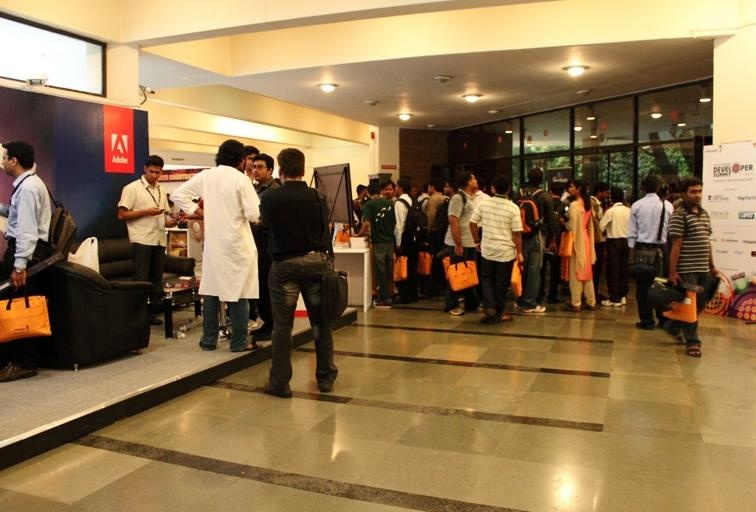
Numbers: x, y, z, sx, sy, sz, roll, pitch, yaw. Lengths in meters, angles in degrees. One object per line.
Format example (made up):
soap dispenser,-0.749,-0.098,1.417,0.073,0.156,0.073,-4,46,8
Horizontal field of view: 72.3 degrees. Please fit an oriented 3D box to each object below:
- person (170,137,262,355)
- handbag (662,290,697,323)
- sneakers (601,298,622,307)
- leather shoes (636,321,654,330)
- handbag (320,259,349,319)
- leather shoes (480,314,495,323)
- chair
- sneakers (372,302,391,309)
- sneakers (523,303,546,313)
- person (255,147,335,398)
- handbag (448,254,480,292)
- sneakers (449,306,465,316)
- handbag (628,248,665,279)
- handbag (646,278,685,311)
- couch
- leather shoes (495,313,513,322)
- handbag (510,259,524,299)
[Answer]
person,-1.609,-0.074,5.528,0.934,2.270,0.483,4,11,21
handbag,3.466,0.571,5.931,0.157,0.345,0.375,-8,11,-34
sneakers,3.842,0.775,8.518,0.293,0.120,0.118,5,8,26
leather shoes,3.610,0.933,7.002,0.215,0.103,0.160,7,13,34
handbag,-0.409,0.345,4.827,0.254,0.531,0.296,2,11,13
leather shoes,1.540,0.901,7.379,0.100,0.138,0.211,0,4,-22
chair,-3.052,0.548,5.513,0.921,0.953,0.953,1,1,35
sneakers,0.054,0.817,8.602,0.279,0.105,0.107,5,3,38
sneakers,2.466,0.814,8.099,0.363,0.146,0.150,-1,3,-8
person,-0.766,0.318,4.878,0.687,2.012,0.378,-1,10,-3
handbag,1.271,0.263,7.734,0.485,0.468,0.215,-17,-9,-13
sneakers,1.229,0.872,8.074,0.211,0.085,0.110,-3,4,26
handbag,3.414,0.103,6.596,0.374,0.434,0.245,-3,-15,40
handbag,3.287,0.451,5.944,0.383,0.369,0.295,3,3,23
couch,-3.220,0.325,6.846,1.185,0.997,2.053,0,7,-12
leather shoes,1.868,0.914,7.617,0.351,0.139,0.117,-7,11,-43
handbag,2.056,0.323,7.648,0.208,0.462,0.629,3,-5,21
